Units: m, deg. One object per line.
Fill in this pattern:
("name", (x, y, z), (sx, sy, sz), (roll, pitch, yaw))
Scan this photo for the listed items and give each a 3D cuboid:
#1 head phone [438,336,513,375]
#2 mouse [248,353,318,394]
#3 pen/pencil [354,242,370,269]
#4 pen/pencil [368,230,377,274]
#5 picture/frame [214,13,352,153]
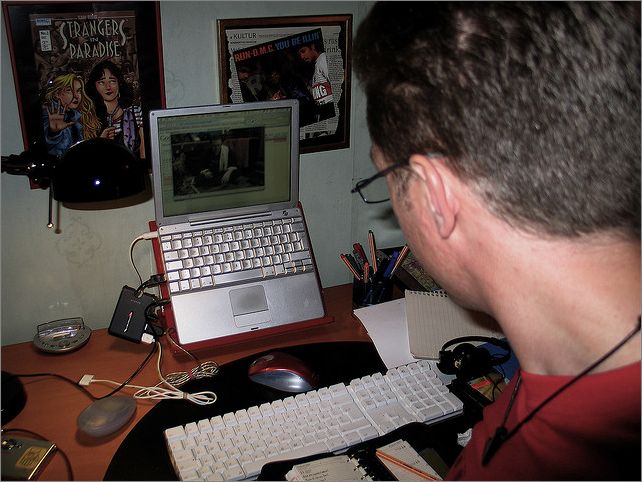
("head phone", (0.309, 0.216, 1.045), (0.101, 0.035, 0.087), (-18, 25, -30))
("mouse", (-0.079, 0.255, 1.057), (0.151, 0.050, 0.094), (5, 14, 22))
("pen/pencil", (0.099, 0.028, 1.292), (0.020, 0.075, 0.020), (-26, -14, -16))
("pen/pencil", (0.129, 0.029, 1.336), (0.011, 0.107, 0.011), (-21, 14, -38))
("picture/frame", (-0.081, -0.365, 1.269), (0.324, 0.324, 0.014), (-12, 26, -22))
